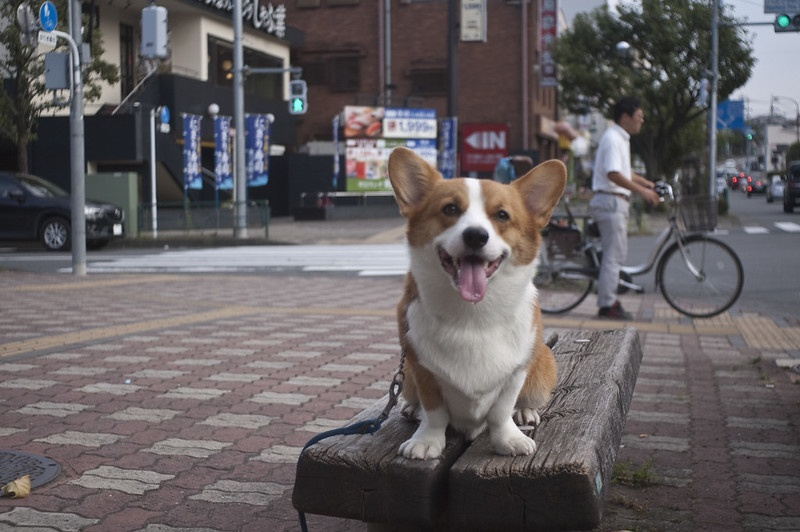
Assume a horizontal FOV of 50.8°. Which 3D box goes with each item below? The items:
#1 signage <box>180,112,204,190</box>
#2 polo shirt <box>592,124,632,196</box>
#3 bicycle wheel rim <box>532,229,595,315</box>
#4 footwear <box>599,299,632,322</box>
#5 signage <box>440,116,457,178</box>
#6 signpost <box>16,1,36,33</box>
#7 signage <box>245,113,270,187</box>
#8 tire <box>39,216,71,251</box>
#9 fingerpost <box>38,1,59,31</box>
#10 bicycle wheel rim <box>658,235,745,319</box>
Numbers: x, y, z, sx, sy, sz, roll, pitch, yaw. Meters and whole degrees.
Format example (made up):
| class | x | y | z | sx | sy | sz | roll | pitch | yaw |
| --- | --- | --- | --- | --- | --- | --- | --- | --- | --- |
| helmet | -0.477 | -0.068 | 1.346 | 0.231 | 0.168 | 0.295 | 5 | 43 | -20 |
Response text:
| class | x | y | z | sx | sy | sz | roll | pitch | yaw |
| --- | --- | --- | --- | --- | --- | --- | --- | --- | --- |
| signage | -6.569 | -3.622 | 26.647 | 0.536 | 2.302 | 1.188 | -3 | 9 | -15 |
| polo shirt | 2.511 | -1.230 | 9.937 | 0.433 | 0.798 | 0.814 | 3 | 6 | 19 |
| bicycle wheel rim | 1.712 | 0.029 | 10.588 | 1.382 | 0.931 | 0.723 | 6 | 3 | 17 |
| footwear | 2.572 | 0.531 | 10.104 | 0.457 | 0.226 | 0.168 | 4 | 7 | -5 |
| signage | 1.474 | -3.984 | 28.409 | 0.204 | 1.992 | 2.105 | -2 | 9 | -18 |
| signpost | -6.914 | -4.597 | 15.679 | 0.304 | 0.589 | 0.767 | -5 | 11 | -25 |
| signage | -4.995 | -4.100 | 29.519 | 0.773 | 2.376 | 0.899 | -2 | 9 | -10 |
| tire | -8.139 | -0.766 | 20.110 | 0.702 | 0.771 | 0.235 | -12 | -6 | 5 |
| fingerpost | -6.416 | -4.561 | 15.381 | 0.253 | 0.563 | 0.670 | -4 | 10 | -20 |
| bicycle wheel rim | 3.641 | 0.169 | 10.237 | 1.048 | 1.171 | 0.222 | 2 | 31 | 18 |
